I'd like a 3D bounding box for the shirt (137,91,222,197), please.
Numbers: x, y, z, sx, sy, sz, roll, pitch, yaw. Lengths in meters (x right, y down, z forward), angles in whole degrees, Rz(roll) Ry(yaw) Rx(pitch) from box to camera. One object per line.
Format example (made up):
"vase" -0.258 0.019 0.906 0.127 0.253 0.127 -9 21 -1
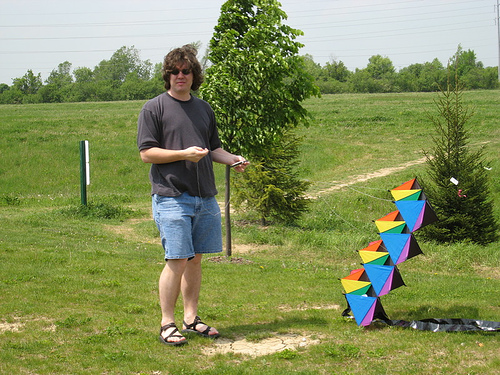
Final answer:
"shirt" -1.433 -0.869 15.503 1.590 2.047 0.779 1 10 -4

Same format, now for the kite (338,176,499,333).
"kite" 3.317 1.410 16.439 2.670 2.960 1.435 3 10 6
